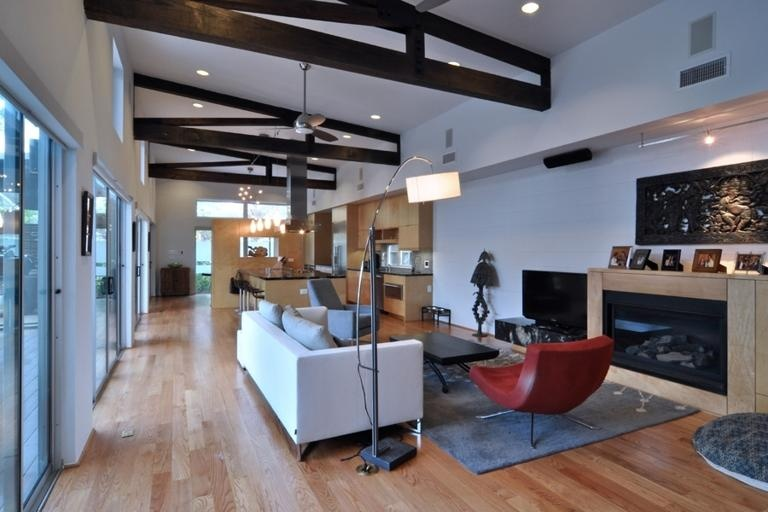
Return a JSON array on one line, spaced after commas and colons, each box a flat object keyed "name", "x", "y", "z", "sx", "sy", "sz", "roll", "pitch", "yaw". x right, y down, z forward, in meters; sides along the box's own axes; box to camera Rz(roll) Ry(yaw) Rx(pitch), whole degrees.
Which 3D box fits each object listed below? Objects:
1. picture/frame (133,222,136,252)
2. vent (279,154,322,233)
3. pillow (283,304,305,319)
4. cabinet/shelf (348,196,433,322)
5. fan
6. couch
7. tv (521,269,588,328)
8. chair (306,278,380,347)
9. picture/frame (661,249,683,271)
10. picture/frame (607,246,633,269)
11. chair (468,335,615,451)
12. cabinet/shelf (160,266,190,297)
[{"name": "picture/frame", "x": -3.909, "y": -0.305, "z": 7.807, "sx": 0.026, "sy": 0.456, "sz": 0.471, "roll": -1, "pitch": 1, "yaw": -21}, {"name": "vent", "x": -1.650, "y": -1.290, "z": 9.623, "sx": 0.624, "sy": 1.431, "sz": 0.610, "roll": -11, "pitch": 36, "yaw": -25}, {"name": "pillow", "x": -0.993, "y": 0.600, "z": 5.504, "sx": 0.205, "sy": 0.077, "sz": 0.201, "roll": 1, "pitch": -1, "yaw": -14}, {"name": "cabinet/shelf", "x": 0.188, "y": 0.087, "z": 9.447, "sx": 0.772, "sy": 2.499, "sz": 2.680, "roll": 1, "pitch": -2, "yaw": -20}, {"name": "fan", "x": -1.018, "y": -2.058, "z": 6.950, "sx": 0.918, "sy": 0.847, "sz": 0.993, "roll": -5, "pitch": -9, "yaw": 31}, {"name": "couch", "x": -0.455, "y": 0.809, "z": 4.856, "sx": 1.052, "sy": 0.771, "sz": 1.888, "roll": -2, "pitch": 5, "yaw": -28}, {"name": "tv", "x": 2.370, "y": 0.597, "z": 6.887, "sx": 0.233, "sy": 0.554, "sz": 0.786, "roll": -5, "pitch": 5, "yaw": -34}, {"name": "chair", "x": -0.614, "y": 0.777, "z": 7.273, "sx": 0.951, "sy": 1.161, "sz": 0.834, "roll": -4, "pitch": -4, "yaw": 31}, {"name": "picture/frame", "x": 3.338, "y": 0.048, "z": 5.805, "sx": 0.218, "sy": 0.246, "sz": 0.208, "roll": 0, "pitch": 1, "yaw": 27}, {"name": "picture/frame", "x": 2.946, "y": 0.023, "z": 6.230, "sx": 0.031, "sy": 0.359, "sz": 0.295, "roll": 18, "pitch": -8, "yaw": -22}, {"name": "chair", "x": 1.485, "y": 1.116, "z": 4.969, "sx": 1.188, "sy": 0.946, "sz": 1.094, "roll": 1, "pitch": -3, "yaw": -26}, {"name": "cabinet/shelf", "x": -5.711, "y": 0.708, "z": 13.573, "sx": 0.808, "sy": 0.866, "sz": 0.328, "roll": 1, "pitch": -3, "yaw": -32}]
